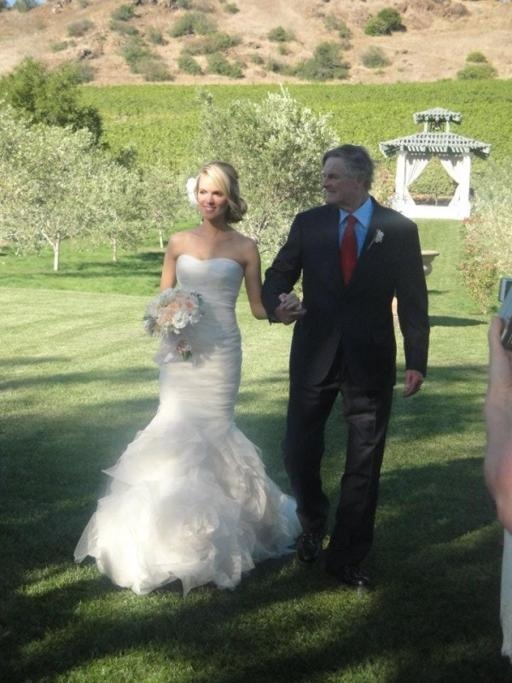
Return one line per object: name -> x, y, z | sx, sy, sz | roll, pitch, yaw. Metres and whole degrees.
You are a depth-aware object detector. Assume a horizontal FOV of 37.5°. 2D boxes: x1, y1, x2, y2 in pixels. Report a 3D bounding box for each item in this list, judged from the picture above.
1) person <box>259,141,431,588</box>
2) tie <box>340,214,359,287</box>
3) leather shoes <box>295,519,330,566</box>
person -> 0.466, 0.119, 4.160 | 0.908, 2.348, 0.566 | 4, 12, 15
tie -> 0.509, -0.499, 4.114 | 0.097, 0.364, 0.121 | 3, 12, 7
leather shoes -> 0.326, 1.164, 4.416 | 0.114, 0.115, 0.312 | 3, 17, 10
